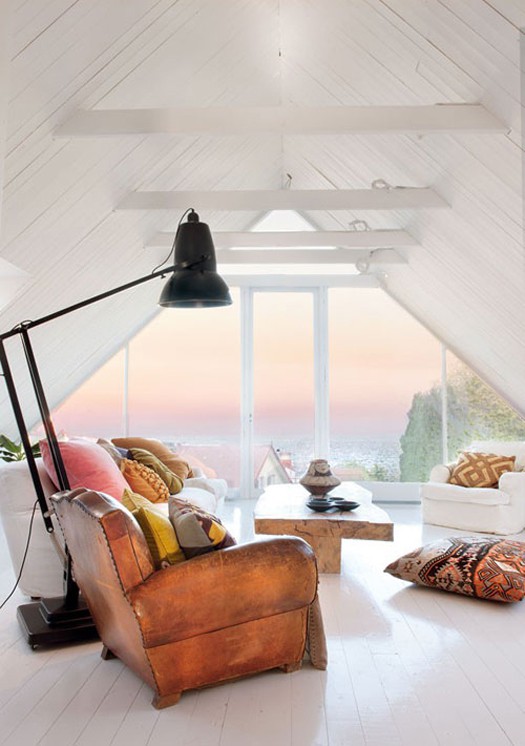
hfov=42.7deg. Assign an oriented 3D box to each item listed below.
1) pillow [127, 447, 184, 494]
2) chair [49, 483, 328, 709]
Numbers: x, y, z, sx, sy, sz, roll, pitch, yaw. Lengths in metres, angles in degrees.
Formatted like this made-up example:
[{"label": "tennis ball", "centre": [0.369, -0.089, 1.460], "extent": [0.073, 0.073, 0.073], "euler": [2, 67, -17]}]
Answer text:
[{"label": "pillow", "centre": [-0.687, 0.618, 4.367], "extent": [0.100, 0.301, 0.277], "euler": [-41, -41, -2]}, {"label": "chair", "centre": [-0.273, 0.695, 2.513], "extent": [0.786, 0.628, 0.761], "euler": [-3, 1, -31]}]
